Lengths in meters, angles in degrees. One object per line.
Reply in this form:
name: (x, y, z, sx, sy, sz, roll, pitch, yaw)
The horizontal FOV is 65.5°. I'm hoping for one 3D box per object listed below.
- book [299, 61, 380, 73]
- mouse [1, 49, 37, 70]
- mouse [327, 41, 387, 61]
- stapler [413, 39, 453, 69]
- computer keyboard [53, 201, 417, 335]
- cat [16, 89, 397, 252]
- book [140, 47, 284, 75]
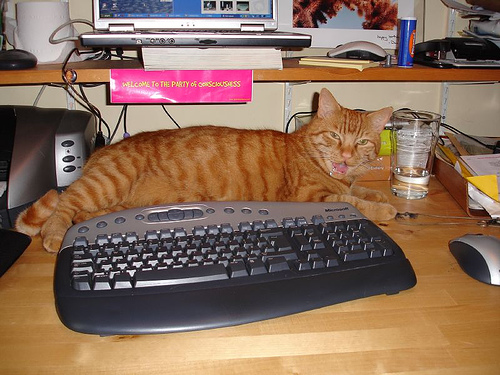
book: (0.283, -0.391, 1.243, 0.252, 0.034, 0.107, 2, 24, 8)
mouse: (-0.682, -0.379, 1.140, 0.094, 0.050, 0.123, -13, 26, -24)
mouse: (0.365, -0.463, 1.316, 0.191, 0.064, 0.130, -4, 24, -6)
stapler: (0.631, -0.462, 1.327, 0.098, 0.084, 0.220, 0, 24, 4)
computer keyboard: (-0.032, 0.147, 0.907, 0.765, 0.087, 0.366, -4, 30, -15)
cat: (-0.178, -0.108, 1.391, 1.426, 0.406, 0.430, -2, 16, -19)
book: (-0.106, -0.374, 1.127, 0.405, 0.073, 0.044, -5, 27, -8)
